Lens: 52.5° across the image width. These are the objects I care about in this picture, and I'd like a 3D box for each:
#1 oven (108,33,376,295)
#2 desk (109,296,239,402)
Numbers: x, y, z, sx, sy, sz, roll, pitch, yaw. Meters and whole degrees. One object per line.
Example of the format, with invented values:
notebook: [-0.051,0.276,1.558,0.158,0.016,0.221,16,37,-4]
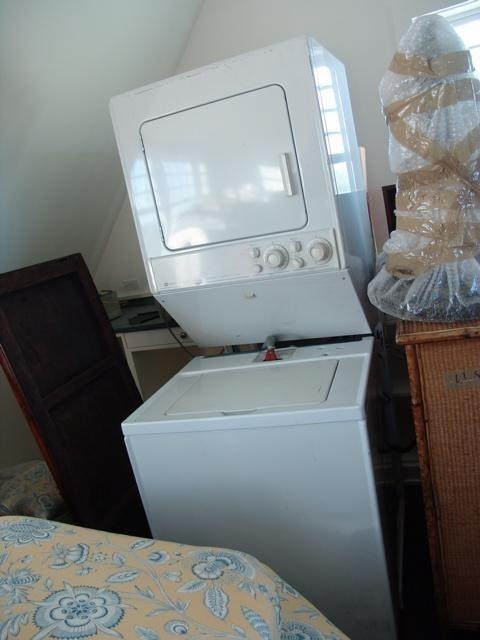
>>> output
oven: [0.029,-0.438,1.871,0.768,0.929,0.557,-8,15,19]
desk: [-0.322,0.130,2.238,0.495,0.443,0.311,-11,31,32]
